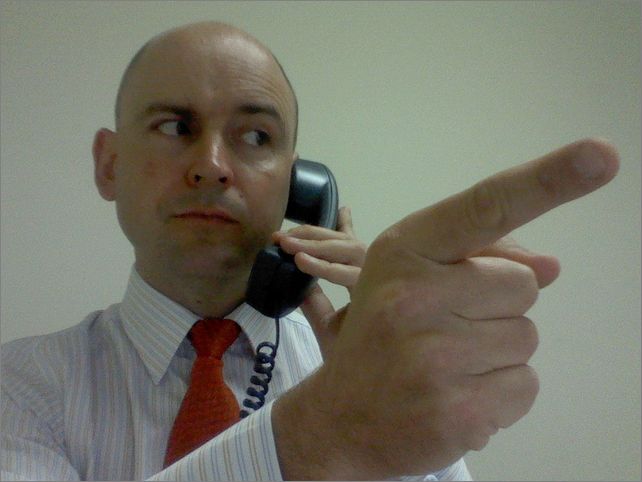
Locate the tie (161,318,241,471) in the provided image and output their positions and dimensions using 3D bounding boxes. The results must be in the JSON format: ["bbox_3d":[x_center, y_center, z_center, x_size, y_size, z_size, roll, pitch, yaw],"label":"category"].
[{"bbox_3d":[-0.234,0.299,2.528,0.136,0.067,0.475,-6,-39,-22],"label":"tie"}]
